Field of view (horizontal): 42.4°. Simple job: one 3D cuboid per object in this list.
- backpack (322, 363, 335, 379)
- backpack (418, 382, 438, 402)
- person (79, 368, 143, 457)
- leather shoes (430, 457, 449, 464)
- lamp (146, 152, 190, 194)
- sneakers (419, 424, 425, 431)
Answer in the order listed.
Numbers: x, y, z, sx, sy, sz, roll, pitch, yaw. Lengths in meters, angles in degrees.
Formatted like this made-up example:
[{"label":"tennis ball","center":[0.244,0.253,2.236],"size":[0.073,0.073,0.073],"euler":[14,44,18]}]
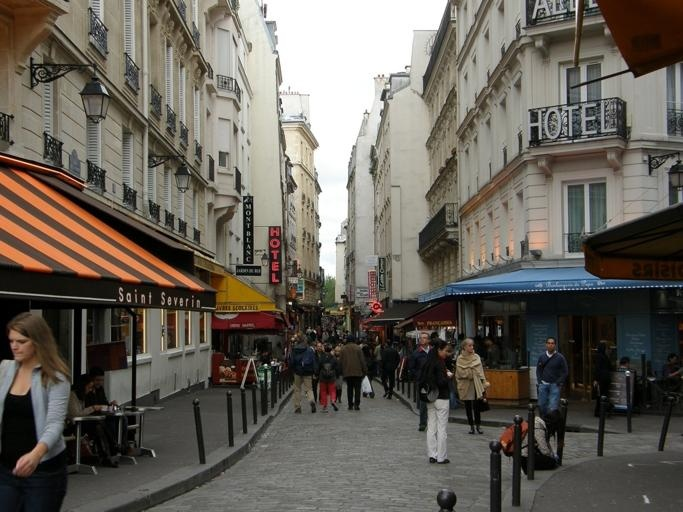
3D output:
[{"label":"backpack","center":[-0.398,3.216,24.880],"size":[0.364,0.424,0.390],"euler":[1,-13,5]},{"label":"backpack","center":[1.581,2.438,16.011],"size":[0.271,0.332,0.232],"euler":[3,-8,-34]},{"label":"person","center":[-4.115,2.707,15.330],"size":[0.893,1.567,0.600],"euler":[-12,1,29]},{"label":"leather shoes","center":[1.727,3.599,15.647],"size":[0.350,0.179,0.130],"euler":[1,-3,-8]},{"label":"lamp","center":[-5.281,-2.482,26.549],"size":[1.294,1.212,0.513],"euler":[1,-6,-1]},{"label":"sneakers","center":[1.813,3.796,19.694],"size":[0.120,0.113,0.189],"euler":[-3,-17,5]}]
